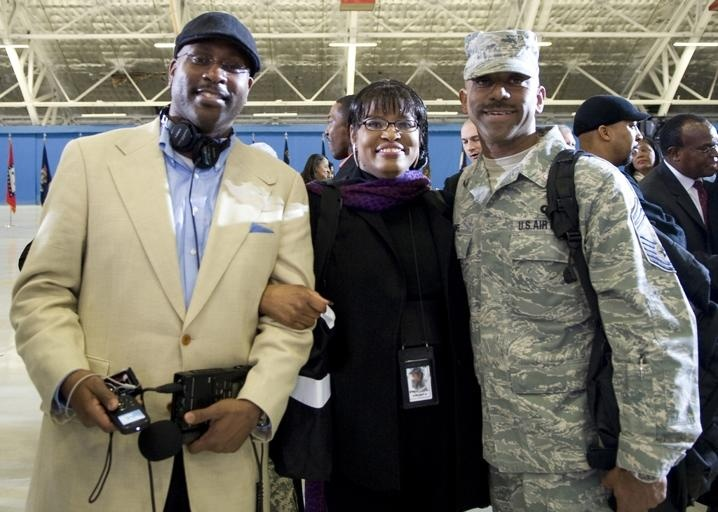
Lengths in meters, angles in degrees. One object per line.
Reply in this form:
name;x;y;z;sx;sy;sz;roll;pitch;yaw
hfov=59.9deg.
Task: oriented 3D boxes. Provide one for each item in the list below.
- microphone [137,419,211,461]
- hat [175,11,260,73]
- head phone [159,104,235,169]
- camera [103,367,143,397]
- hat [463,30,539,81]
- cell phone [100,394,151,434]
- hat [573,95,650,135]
microphone;-0.651;0.621;2.181;0.220;0.112;0.103;-11;-1;-28
hat;-0.574;-0.890;2.543;0.323;0.199;0.408;5;-5;-15
head phone;-0.655;-0.525;2.504;0.115;0.293;0.248;-10;-26;21
camera;-0.832;0.433;2.160;0.149;0.095;0.081;9;18;39
hat;0.616;-0.850;2.715;0.305;0.186;0.396;-3;3;9
cell phone;-0.788;0.527;2.100;0.103;0.041;0.143;-16;48;-40
hat;1.297;-0.729;3.193;0.313;0.154;0.218;-26;11;14
